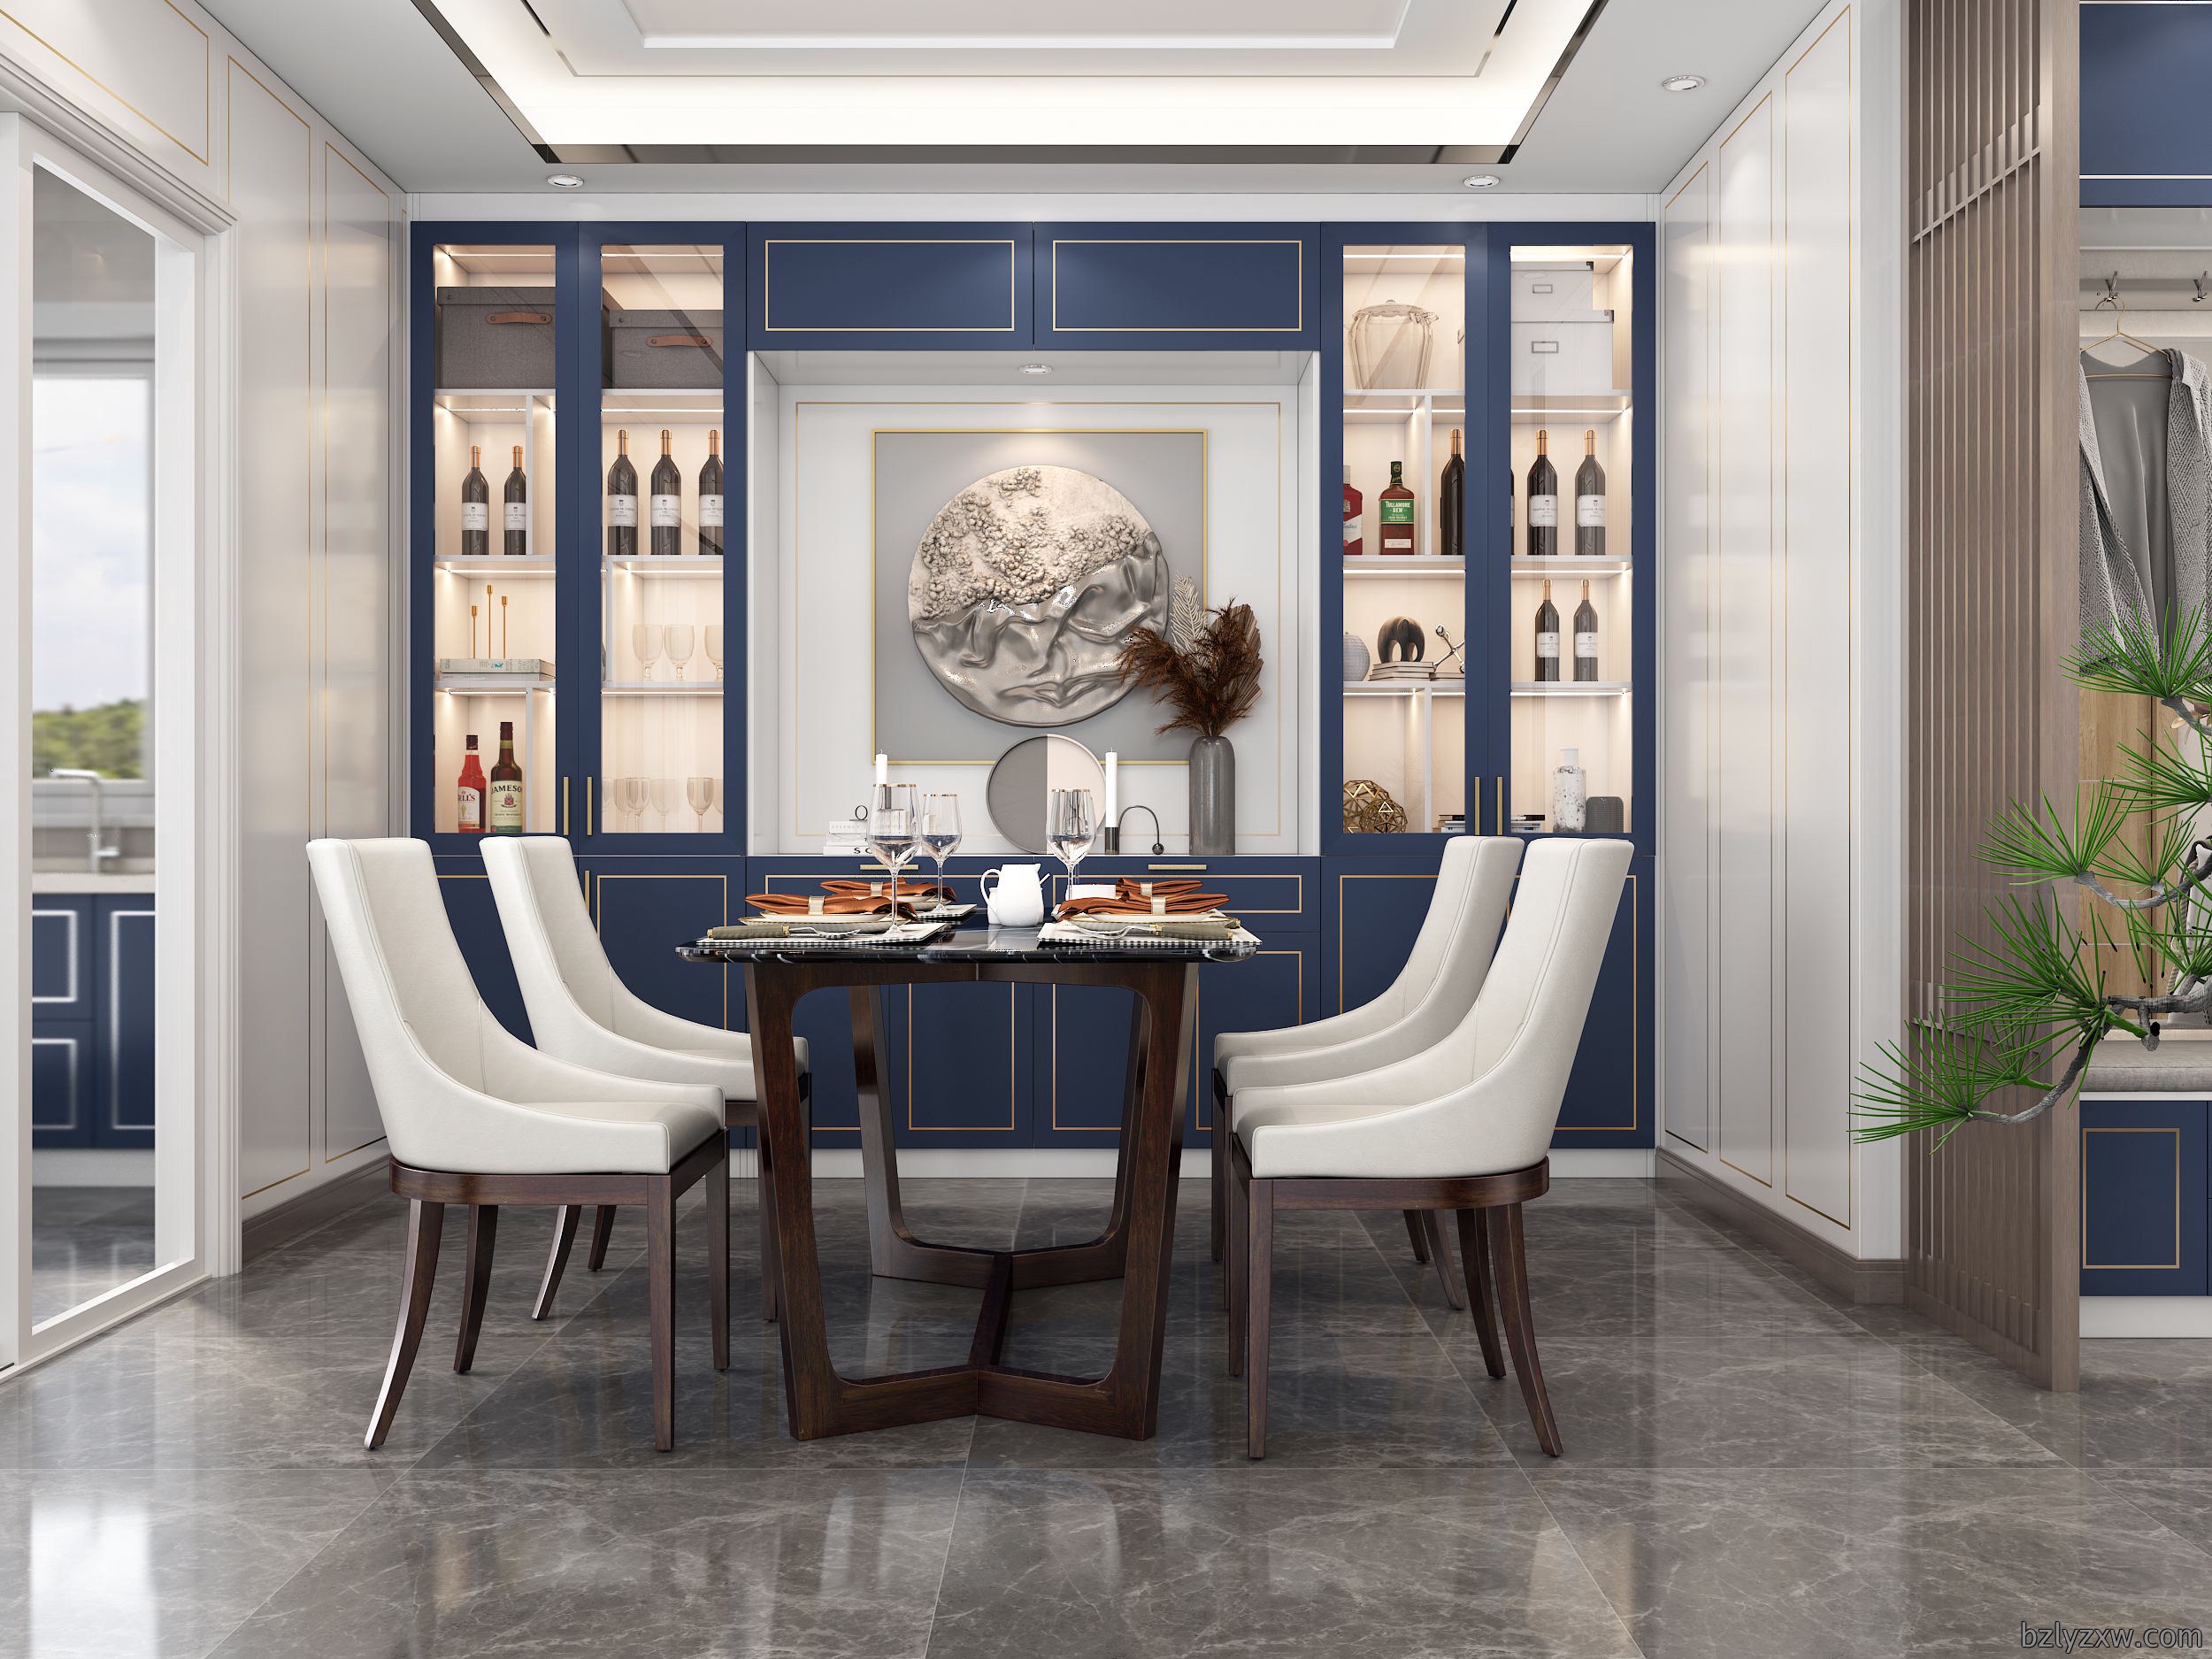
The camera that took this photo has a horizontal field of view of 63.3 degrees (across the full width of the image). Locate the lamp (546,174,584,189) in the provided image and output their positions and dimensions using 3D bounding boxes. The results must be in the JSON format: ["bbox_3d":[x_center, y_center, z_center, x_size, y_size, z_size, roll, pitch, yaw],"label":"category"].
[{"bbox_3d":[-1.728,-2.051,5.705,0.101,0.021,0.140,-4,8,-28],"label":"lamp"}]

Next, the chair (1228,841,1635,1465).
[{"bbox_3d":[0.680,0.631,3.857,0.817,1.238,0.670,1,8,4],"label":"chair"}]

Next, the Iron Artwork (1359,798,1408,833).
[{"bbox_3d":[0.895,-0.039,5.778,0.119,0.117,0.124,1,12,14],"label":"Iron Artwork"}]

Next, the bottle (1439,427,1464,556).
[{"bbox_3d":[1.116,-1.076,5.787,0.078,0.393,0.061,0,8,2],"label":"bottle"}]

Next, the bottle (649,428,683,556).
[{"bbox_3d":[-1.431,-1.074,5.779,0.100,0.393,0.065,-1,9,-8],"label":"bottle"}]

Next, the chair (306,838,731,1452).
[{"bbox_3d":[-1.282,0.638,3.861,0.788,1.232,0.537,0,8,2],"label":"chair"}]

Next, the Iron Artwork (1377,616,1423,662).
[{"bbox_3d":[0.952,-0.609,5.730,0.166,0.154,0.137,-1,6,-11],"label":"Iron Artwork"}]

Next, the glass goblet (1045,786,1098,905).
[{"bbox_3d":[-0.081,0.004,4.266,0.103,0.190,0.169,0,8,-1],"label":"glass goblet"}]

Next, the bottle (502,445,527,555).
[{"bbox_3d":[-1.945,-1.062,5.844,0.096,0.346,0.086,3,14,-17],"label":"bottle"}]

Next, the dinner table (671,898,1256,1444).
[{"bbox_3d":[-0.272,0.836,4.146,1.243,1.068,1.322,-2,-11,4],"label":"dinner table"}]

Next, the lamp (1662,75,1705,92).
[{"bbox_3d":[1.651,-2.121,5.124,0.113,0.030,0.096,2,8,15],"label":"lamp"}]

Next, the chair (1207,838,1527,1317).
[{"bbox_3d":[0.680,0.658,4.291,0.866,1.108,0.690,4,13,-3],"label":"chair"}]

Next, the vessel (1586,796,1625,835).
[{"bbox_3d":[1.619,-0.047,5.810,0.135,0.116,0.069,-1,-1,1],"label":"vessel"}]
